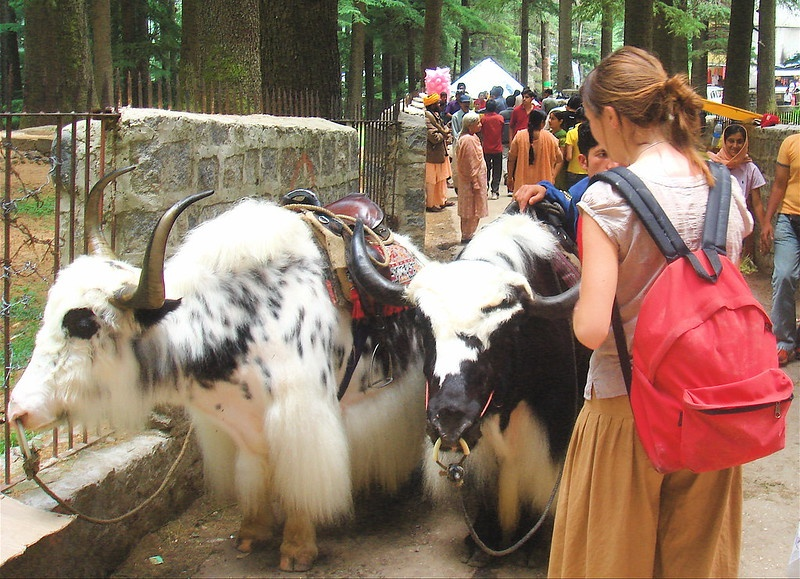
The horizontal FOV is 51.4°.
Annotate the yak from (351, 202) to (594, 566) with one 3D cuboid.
[{"bbox_3d":[0.302,0.370,5.377,1.069,1.771,2.498,1,15,22],"label":"yak"}]

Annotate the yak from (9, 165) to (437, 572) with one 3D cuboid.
[{"bbox_3d":[-0.938,0.487,4.929,2.326,2.418,0.809,-8,12,-31],"label":"yak"}]

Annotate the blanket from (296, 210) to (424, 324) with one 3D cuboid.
[{"bbox_3d":[-0.295,-0.166,5.215,0.580,0.839,0.914,-4,17,-39],"label":"blanket"}]
